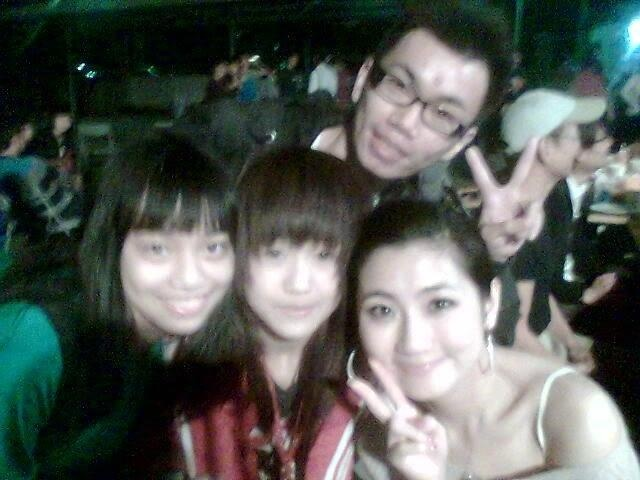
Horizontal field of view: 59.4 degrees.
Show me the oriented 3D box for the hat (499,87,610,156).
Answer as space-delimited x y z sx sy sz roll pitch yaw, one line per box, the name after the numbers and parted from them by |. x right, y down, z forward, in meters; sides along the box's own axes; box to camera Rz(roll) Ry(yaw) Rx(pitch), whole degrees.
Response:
0.595 -0.317 1.455 0.226 0.114 0.154 -31 24 25 | hat
